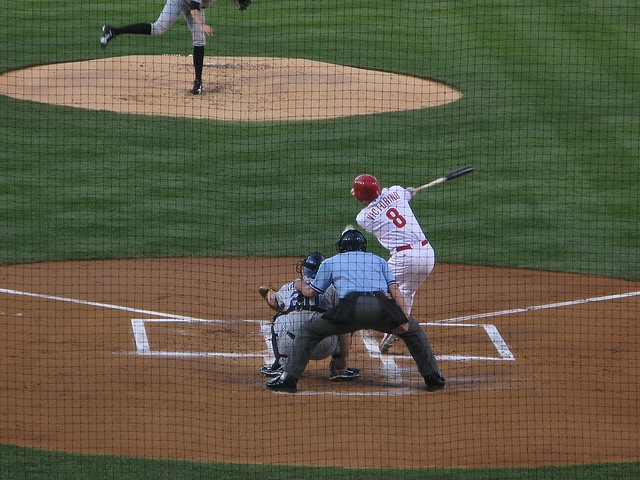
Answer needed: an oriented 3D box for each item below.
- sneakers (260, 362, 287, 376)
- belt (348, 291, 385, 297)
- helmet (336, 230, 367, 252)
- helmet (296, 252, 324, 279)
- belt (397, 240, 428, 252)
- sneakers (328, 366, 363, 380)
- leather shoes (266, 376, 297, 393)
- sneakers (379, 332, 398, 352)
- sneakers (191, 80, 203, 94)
[{"bbox_3d":[-0.709,1.959,20.858,0.380,0.150,0.156,2,27,0],"label":"sneakers"},{"bbox_3d":[0.655,0.805,20.166,0.267,0.055,0.189,-5,-6,6],"label":"belt"},{"bbox_3d":[0.478,0.023,20.456,0.367,0.341,0.331,1,-2,-5],"label":"helmet"},{"bbox_3d":[-0.084,0.368,20.809,0.361,0.380,0.425,15,39,-17],"label":"helmet"},{"bbox_3d":[1.409,0.108,21.513,0.313,0.068,0.218,-13,-4,-1],"label":"belt"},{"bbox_3d":[0.371,2.029,20.745,0.514,0.195,0.171,-4,14,-4],"label":"sneakers"},{"bbox_3d":[-0.555,2.146,20.486,0.513,0.206,0.190,2,62,3],"label":"leather shoes"},{"bbox_3d":[1.038,1.599,21.386,0.207,0.437,0.138,-8,65,-9],"label":"sneakers"},{"bbox_3d":[-2.493,-3.112,27.905,0.145,0.153,0.355,7,25,-4],"label":"sneakers"}]
